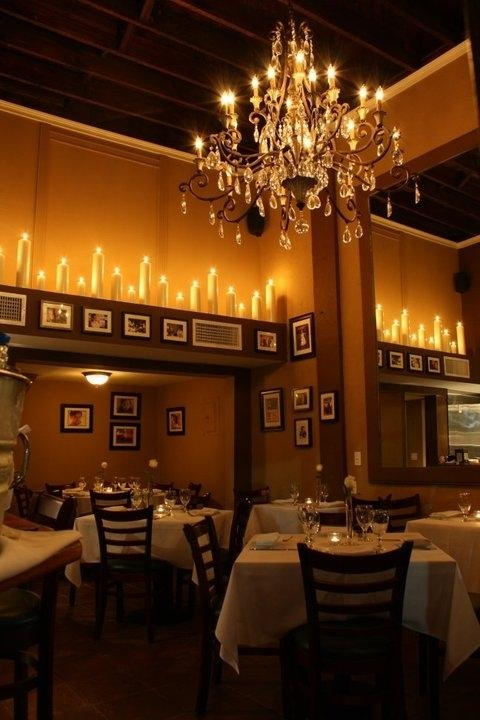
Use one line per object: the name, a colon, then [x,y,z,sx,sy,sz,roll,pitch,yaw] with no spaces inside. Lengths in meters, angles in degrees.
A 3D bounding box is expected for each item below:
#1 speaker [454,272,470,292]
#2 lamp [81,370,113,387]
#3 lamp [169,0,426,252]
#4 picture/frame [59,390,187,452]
speaker: [2.023,-0.710,4.974,0.049,0.239,0.157,8,-14,-41]
lamp: [-2.090,0.248,8.035,0.324,0.204,0.358,0,-19,-8]
lamp: [0.580,-2.174,4.929,1.824,2.377,1.833,-7,-8,44]
picture/frame: [-2.043,1.039,9.575,1.984,1.036,0.738,0,-11,-5]
